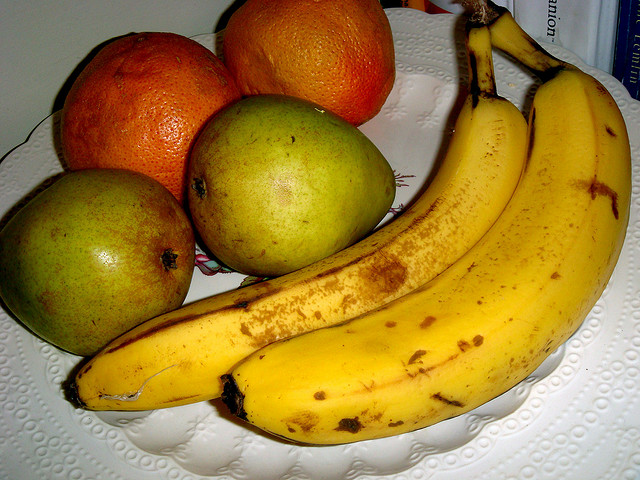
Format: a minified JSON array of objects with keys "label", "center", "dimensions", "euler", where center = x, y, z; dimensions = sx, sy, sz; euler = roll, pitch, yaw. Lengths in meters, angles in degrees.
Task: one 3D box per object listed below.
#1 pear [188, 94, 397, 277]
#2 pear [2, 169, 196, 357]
[{"label":"pear","center":[-0.057,-0.123,1.172],"dimensions":[0.313,0.248,0.263],"euler":[-4,23,-12]},{"label":"pear","center":[-0.388,0.046,1.212],"dimensions":[0.314,0.293,0.334],"euler":[8,74,-6]}]
